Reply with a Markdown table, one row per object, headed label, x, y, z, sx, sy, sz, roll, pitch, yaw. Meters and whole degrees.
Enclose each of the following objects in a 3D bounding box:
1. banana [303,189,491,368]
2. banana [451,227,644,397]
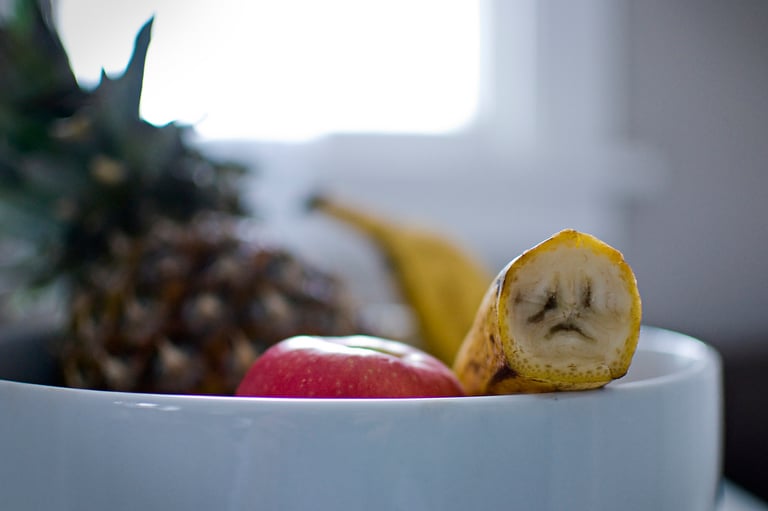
| label | x | y | z | sx | sy | sz | roll | pitch | yaw |
| --- | --- | --- | --- | --- | --- | --- | --- | --- | --- |
| banana | 0.007 | 0.000 | 0.899 | 0.198 | 0.047 | 0.113 | 34 | -21 | 3 |
| banana | 0.104 | 0.048 | 0.639 | 0.065 | 0.058 | 0.147 | -37 | 0 | -27 |
